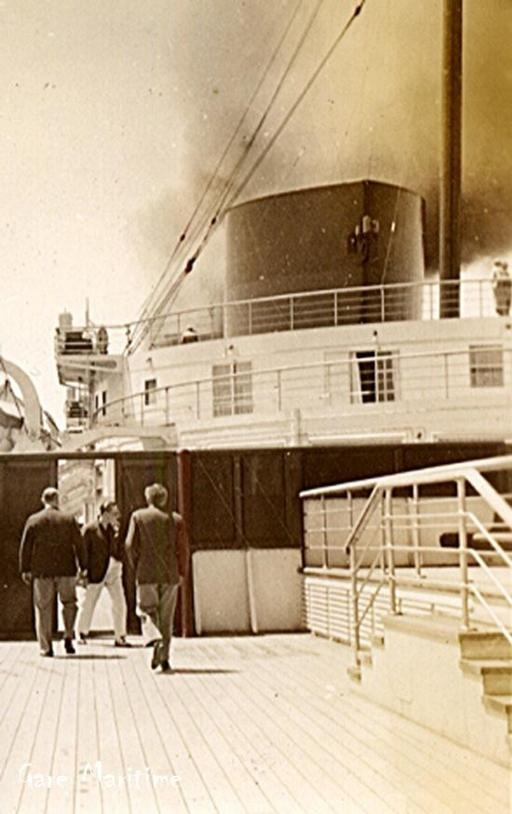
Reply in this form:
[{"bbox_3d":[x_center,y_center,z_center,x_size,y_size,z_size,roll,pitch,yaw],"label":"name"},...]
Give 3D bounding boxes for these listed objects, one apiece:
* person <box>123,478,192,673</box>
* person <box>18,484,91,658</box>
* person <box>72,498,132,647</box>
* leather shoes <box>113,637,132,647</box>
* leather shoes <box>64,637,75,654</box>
[{"bbox_3d":[-0.744,1.277,7.013,0.439,1.385,0.519,-1,-3,-5],"label":"person"},{"bbox_3d":[-1.672,1.355,7.744,0.503,1.370,0.517,-1,-3,-14],"label":"person"},{"bbox_3d":[-1.334,1.386,8.192,0.331,1.491,0.371,-3,22,-17],"label":"person"},{"bbox_3d":[-1.182,2.052,8.284,0.133,0.130,0.081,-1,-4,11],"label":"leather shoes"},{"bbox_3d":[-1.541,1.997,7.847,0.055,0.163,0.182,5,-12,-33],"label":"leather shoes"}]
